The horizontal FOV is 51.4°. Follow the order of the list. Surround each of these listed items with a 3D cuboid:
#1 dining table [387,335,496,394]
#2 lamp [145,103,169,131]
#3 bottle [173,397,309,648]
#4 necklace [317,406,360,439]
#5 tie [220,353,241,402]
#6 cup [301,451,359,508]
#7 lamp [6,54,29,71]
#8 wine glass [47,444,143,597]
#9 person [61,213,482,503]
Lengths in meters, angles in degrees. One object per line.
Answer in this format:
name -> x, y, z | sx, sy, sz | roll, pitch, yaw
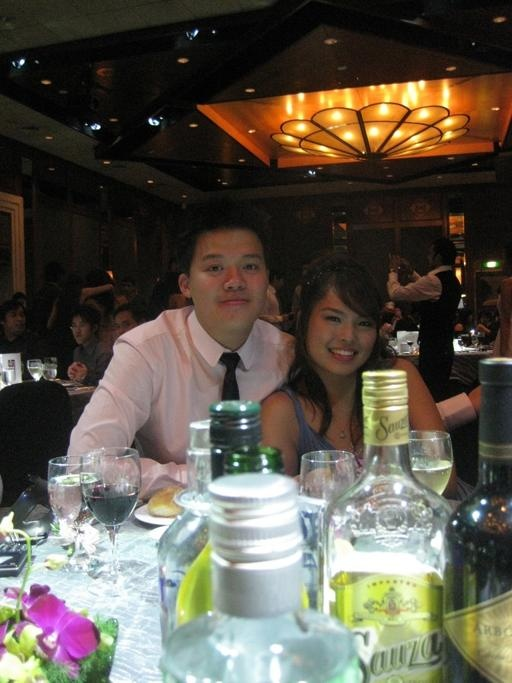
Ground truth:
dining table -> 2.003, 0.189, 5.697 | 1.094, 0.247, 1.023 | -3, 4, 2
lamp -> -1.093, -2.468, 5.893 | 0.146, 0.186, 0.187 | 1, 2, -15
bottle -> -0.004, 0.116, 0.315 | 0.072, 0.154, 0.068 | -7, -3, 0
necklace -> 0.262, 0.247, 1.639 | 0.097, 0.121, 0.046 | 0, -6, 6
tie -> -0.081, 0.124, 1.716 | 0.057, 0.186, 0.027 | -2, 30, -5
cup -> 0.092, 0.181, 0.713 | 0.075, 0.072, 0.072 | 0, -9, 0
lamp -> -2.258, -2.626, 5.059 | 0.168, 0.114, 0.145 | -4, 5, 10
wine glass -> -0.252, 0.286, 0.942 | 0.202, 0.267, 0.171 | -3, 2, -19
person -> 0.049, 0.050, 2.086 | 1.150, 1.378, 0.858 | -6, 2, -30
